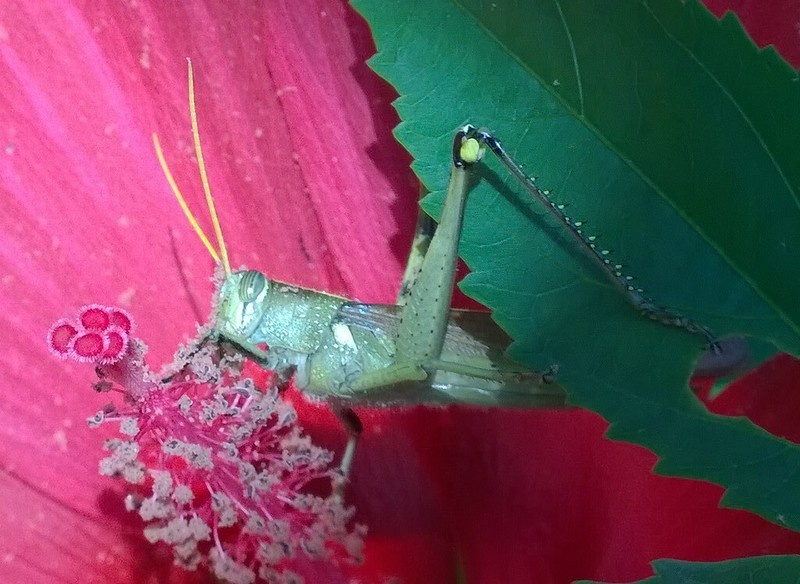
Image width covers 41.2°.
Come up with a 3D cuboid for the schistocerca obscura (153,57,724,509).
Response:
[{"bbox_3d":[0.072,-0.017,2.378,1.044,0.790,0.628,6,1,-3],"label":"schistocerca obscura"}]
